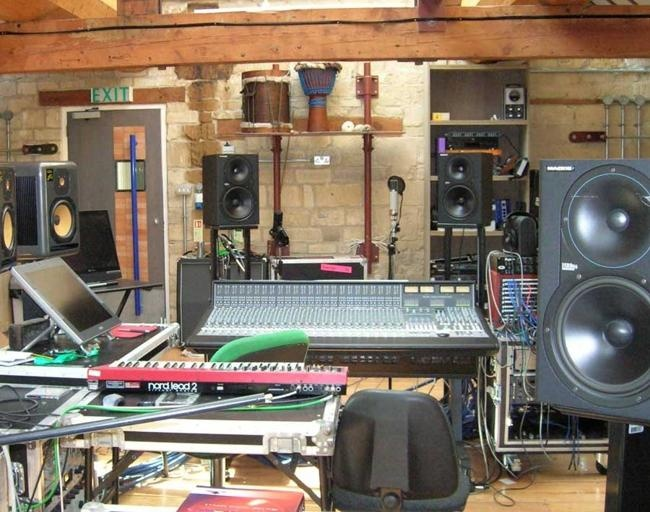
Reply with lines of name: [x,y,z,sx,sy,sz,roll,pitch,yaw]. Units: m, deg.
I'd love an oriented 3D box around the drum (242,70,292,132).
drum: [-0.465,-1.225,7.056,0.413,0.490,0.428,2,7,22]

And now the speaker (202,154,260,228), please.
speaker: [-0.580,-0.431,6.049,0.421,0.725,0.398,0,3,-1]

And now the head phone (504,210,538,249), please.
head phone: [1.133,-0.159,5.133,0.158,0.246,0.222,0,-3,12]

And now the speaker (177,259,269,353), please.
speaker: [-0.864,0.360,7.210,0.603,0.729,0.811,0,1,-25]

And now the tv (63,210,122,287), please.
tv: [-1.611,-0.041,6.090,0.043,0.626,0.488,-17,-1,41]
